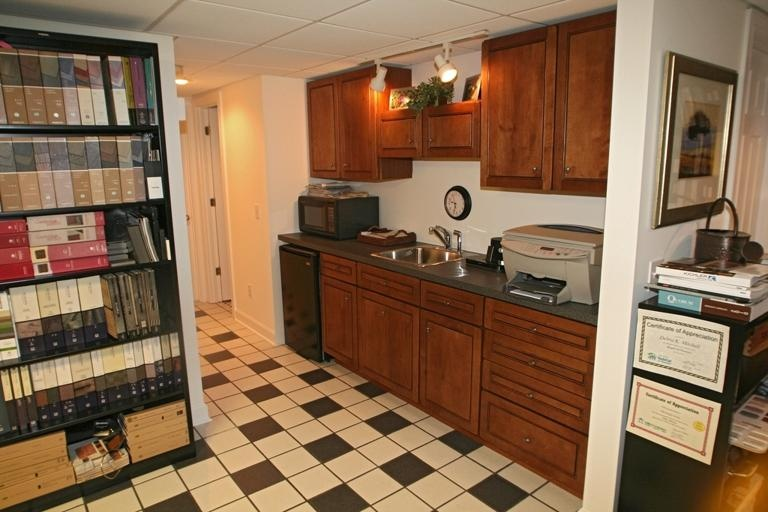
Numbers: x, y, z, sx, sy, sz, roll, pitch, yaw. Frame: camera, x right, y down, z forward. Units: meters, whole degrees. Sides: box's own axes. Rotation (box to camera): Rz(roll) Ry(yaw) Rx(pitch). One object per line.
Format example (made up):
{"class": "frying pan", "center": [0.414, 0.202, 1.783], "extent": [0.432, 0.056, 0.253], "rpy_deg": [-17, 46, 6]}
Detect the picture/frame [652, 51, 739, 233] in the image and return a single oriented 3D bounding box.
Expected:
{"class": "picture/frame", "center": [1.770, -0.682, 3.023], "extent": [1.134, 1.012, 0.117], "rpy_deg": [-10, 20, -38]}

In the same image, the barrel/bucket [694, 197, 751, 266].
{"class": "barrel/bucket", "center": [1.992, -0.167, 3.099], "extent": [0.259, 0.350, 0.467], "rpy_deg": [6, 15, 31]}

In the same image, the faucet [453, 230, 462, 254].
{"class": "faucet", "center": [0.615, -0.124, 4.394], "extent": [0.082, 0.178, 0.136], "rpy_deg": [-1, 13, 6]}

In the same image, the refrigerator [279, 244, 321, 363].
{"class": "refrigerator", "center": [-0.795, 0.446, 5.042], "extent": [0.189, 1.054, 0.646], "rpy_deg": [-11, 16, -32]}

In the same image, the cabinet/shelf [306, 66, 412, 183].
{"class": "cabinet/shelf", "center": [-0.194, -1.197, 4.675], "extent": [0.420, 0.817, 1.049], "rpy_deg": [-5, 10, -37]}

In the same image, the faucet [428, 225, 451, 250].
{"class": "faucet", "center": [0.491, -0.163, 4.485], "extent": [0.139, 0.183, 0.180], "rpy_deg": [-11, 16, -34]}

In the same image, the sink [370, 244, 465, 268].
{"class": "sink", "center": [0.195, -0.003, 4.475], "extent": [0.412, 0.150, 0.324], "rpy_deg": [-7, 14, -38]}

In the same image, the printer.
{"class": "printer", "center": [1.086, 0.010, 3.340], "extent": [0.565, 0.364, 0.607], "rpy_deg": [-6, 9, -43]}

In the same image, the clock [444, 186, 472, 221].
{"class": "clock", "center": [0.619, -0.446, 4.415], "extent": [0.042, 0.297, 0.264], "rpy_deg": [-14, 17, -39]}

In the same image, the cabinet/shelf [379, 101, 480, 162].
{"class": "cabinet/shelf", "center": [0.329, -0.988, 4.171], "extent": [0.194, 0.411, 1.045], "rpy_deg": [-12, 16, -36]}

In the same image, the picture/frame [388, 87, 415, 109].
{"class": "picture/frame", "center": [0.148, -1.302, 4.336], "extent": [0.042, 0.197, 0.314], "rpy_deg": [9, -5, -41]}

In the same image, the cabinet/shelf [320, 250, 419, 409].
{"class": "cabinet/shelf", "center": [-0.097, 0.603, 4.313], "extent": [0.492, 0.965, 1.246], "rpy_deg": [-6, 13, -43]}

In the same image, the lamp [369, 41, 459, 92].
{"class": "lamp", "center": [0.243, -1.460, 4.074], "extent": [0.342, 0.282, 0.978], "rpy_deg": [-13, 16, -42]}
